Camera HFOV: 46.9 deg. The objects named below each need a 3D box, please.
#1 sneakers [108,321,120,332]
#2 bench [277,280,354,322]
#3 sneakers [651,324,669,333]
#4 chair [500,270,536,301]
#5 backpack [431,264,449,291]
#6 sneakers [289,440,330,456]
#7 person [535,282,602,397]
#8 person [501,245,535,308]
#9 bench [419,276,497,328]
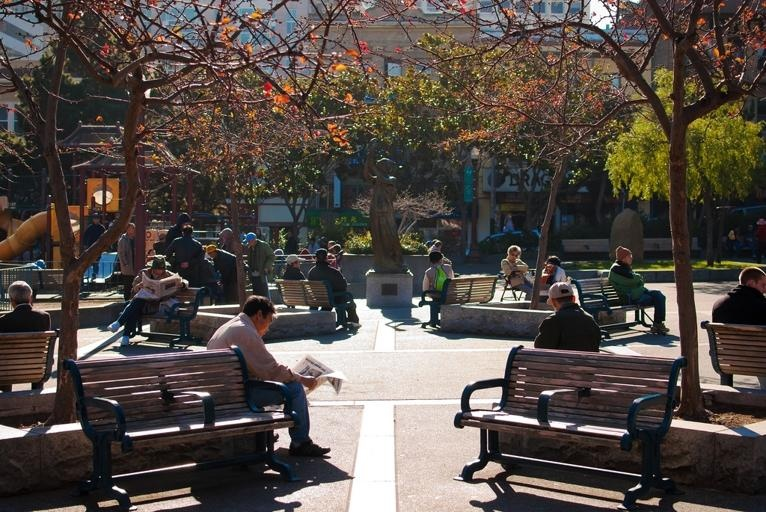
[{"bbox_3d":[-5.040,1.313,16.682,0.161,0.192,0.278,-1,2,-25],"label":"sneakers"},{"bbox_3d":[-1.384,0.915,18.964,0.793,0.968,2.247,-7,3,-27],"label":"bench"},{"bbox_3d":[5.395,1.405,17.263,0.297,0.199,0.157,0,1,5],"label":"sneakers"},{"bbox_3d":[3.554,0.760,23.114,0.839,1.163,0.779,0,-1,-1],"label":"chair"},{"bbox_3d":[1.213,0.474,19.105,0.546,0.709,0.363,0,0,-8],"label":"backpack"},{"bbox_3d":[-0.849,2.255,10.419,0.487,0.218,0.184,1,-1,-3],"label":"sneakers"},{"bbox_3d":[2.291,1.119,10.957,0.880,1.629,0.751,-7,10,-16],"label":"person"},{"bbox_3d":[3.580,0.551,23.028,0.891,1.628,0.734,0,11,42],"label":"person"},{"bbox_3d":[1.704,1.024,19.799,0.836,1.125,2.114,2,0,37],"label":"bench"}]
